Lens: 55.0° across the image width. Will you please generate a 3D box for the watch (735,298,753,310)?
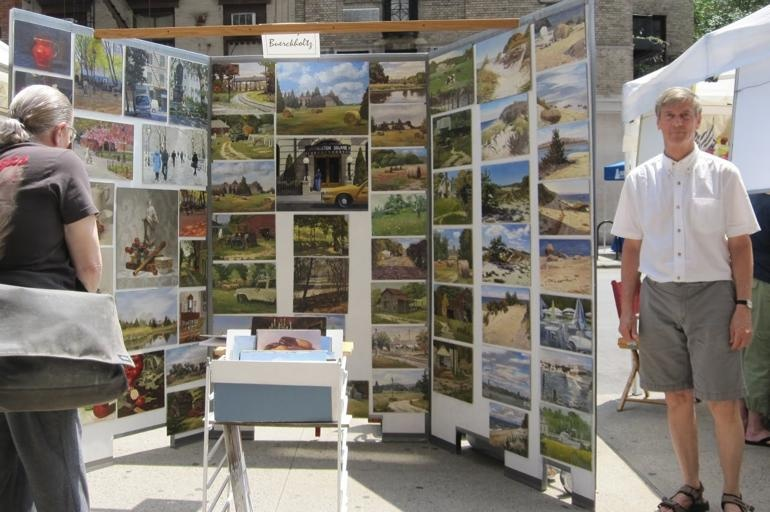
[{"bbox_3d":[2.519,0.325,5.236,0.097,0.052,0.090,6,1,-6],"label":"watch"}]
